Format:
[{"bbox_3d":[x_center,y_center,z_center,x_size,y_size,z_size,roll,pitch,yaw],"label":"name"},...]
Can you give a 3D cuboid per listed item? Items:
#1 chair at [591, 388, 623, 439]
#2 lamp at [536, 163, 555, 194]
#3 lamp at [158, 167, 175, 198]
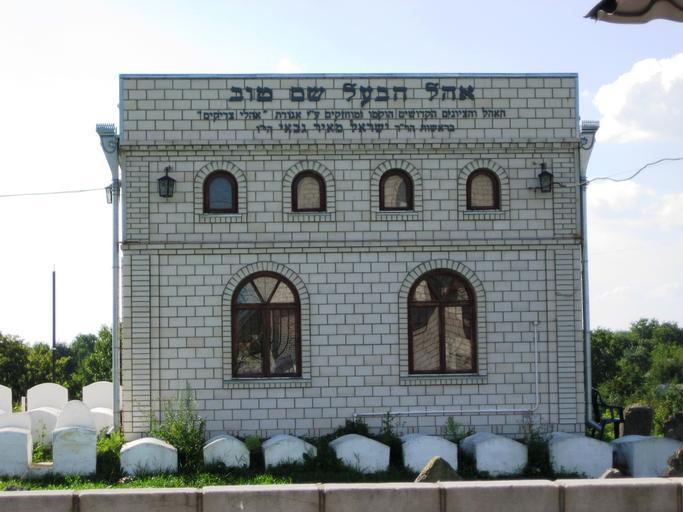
[{"bbox_3d":[9.268,5.412,59.949,1.310,2.411,1.557,-1,0,8],"label":"chair"},{"bbox_3d":[6.988,-2.637,58.919,0.541,1.038,0.353,-3,-6,4],"label":"lamp"},{"bbox_3d":[-5.856,-2.449,58.396,0.591,1.080,0.395,-1,-6,-8],"label":"lamp"}]
